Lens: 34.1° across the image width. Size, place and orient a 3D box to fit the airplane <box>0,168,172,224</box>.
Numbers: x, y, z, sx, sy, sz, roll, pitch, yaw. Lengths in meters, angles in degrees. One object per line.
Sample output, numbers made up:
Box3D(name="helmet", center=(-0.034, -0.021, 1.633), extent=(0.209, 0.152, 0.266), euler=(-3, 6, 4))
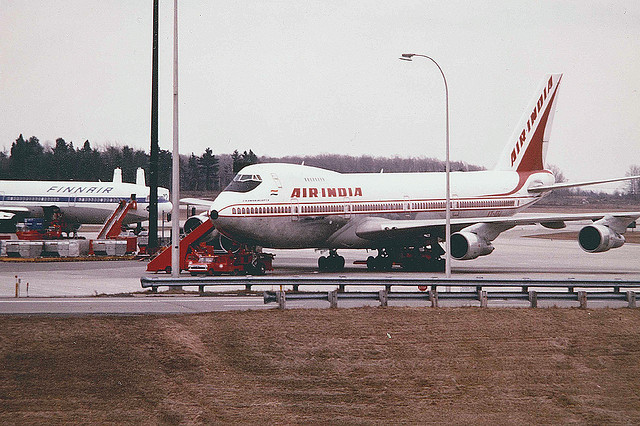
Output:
Box3D(name="airplane", center=(-19.476, -1.407, 85.298), extent=(9.307, 2.876, 7.493), euler=(-1, 4, -2))

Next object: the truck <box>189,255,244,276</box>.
Box3D(name="truck", center=(-5.427, 2.739, 54.092), extent=(1.165, 0.687, 2.103), euler=(-2, -3, 38))

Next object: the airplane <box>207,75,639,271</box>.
Box3D(name="airplane", center=(8.293, -2.496, 76.385), extent=(30.019, 11.512, 43.995), euler=(0, 0, -3))
